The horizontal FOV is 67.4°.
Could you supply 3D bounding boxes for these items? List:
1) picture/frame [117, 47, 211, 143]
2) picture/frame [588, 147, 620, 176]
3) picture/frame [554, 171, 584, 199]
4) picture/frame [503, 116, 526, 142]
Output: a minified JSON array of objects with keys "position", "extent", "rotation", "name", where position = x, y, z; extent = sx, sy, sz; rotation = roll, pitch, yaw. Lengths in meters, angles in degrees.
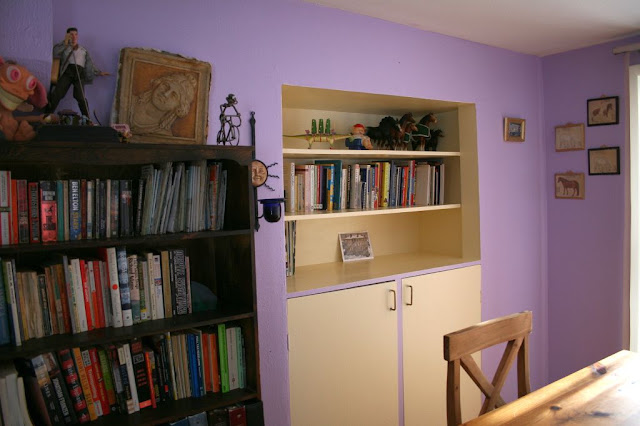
[{"position":[-0.906,-0.665,2.704],"extent":[0.525,0.529,0.094],"rotation":[11,-3,-23],"name":"picture/frame"},{"position":[2.328,-0.427,3.915],"extent":[0.015,0.228,0.229],"rotation":[-3,4,-30],"name":"picture/frame"},{"position":[2.148,-0.244,4.115],"extent":[0.018,0.249,0.232],"rotation":[-1,1,-32],"name":"picture/frame"},{"position":[1.627,-0.705,4.036],"extent":[0.221,0.194,0.023],"rotation":[-4,4,-36],"name":"picture/frame"}]
